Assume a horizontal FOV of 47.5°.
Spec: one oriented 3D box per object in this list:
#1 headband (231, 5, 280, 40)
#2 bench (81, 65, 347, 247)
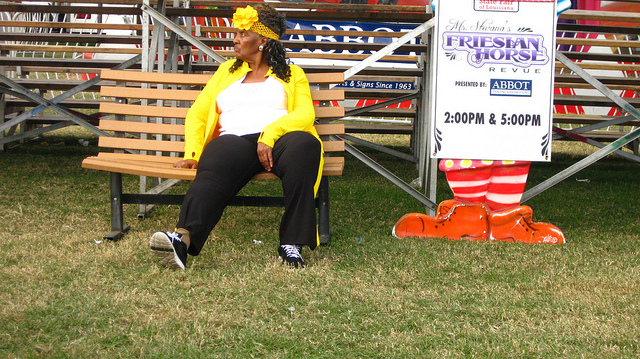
[{"bbox_3d":[-0.712,-1.697,7.910,0.452,0.202,0.251,23,44,-9],"label":"headband"},{"bbox_3d":[-1.151,-0.221,8.078,2.530,1.319,0.944,1,19,-1],"label":"bench"}]
